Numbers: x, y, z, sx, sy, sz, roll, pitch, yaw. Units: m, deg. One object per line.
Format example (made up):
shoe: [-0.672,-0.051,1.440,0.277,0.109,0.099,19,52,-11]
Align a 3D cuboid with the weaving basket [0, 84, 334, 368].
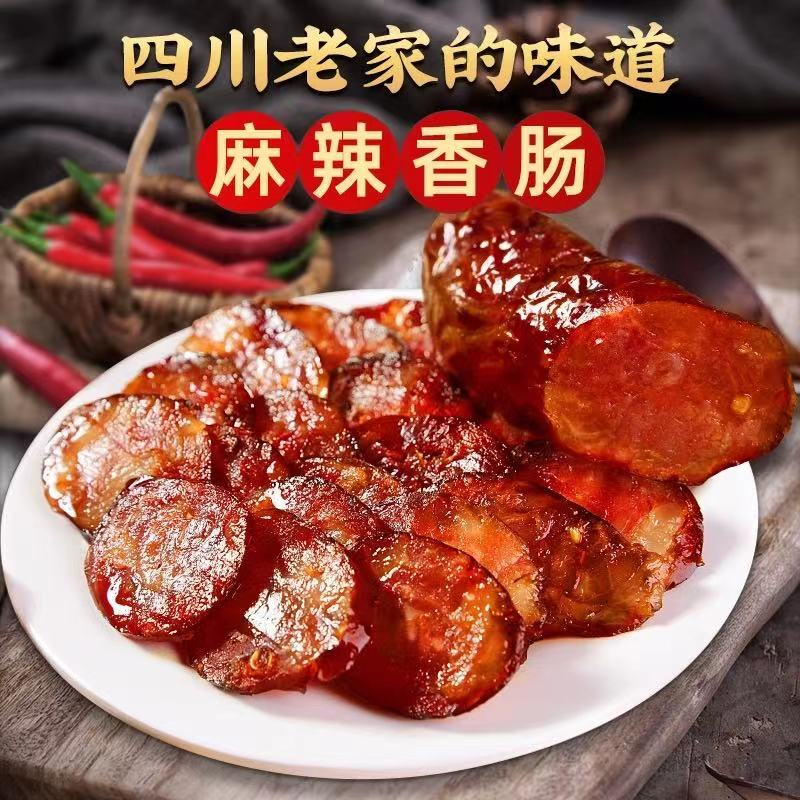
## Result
weaving basket: [-0.368,-0.322,1.628,0.491,0.375,0.390,6,30,4]

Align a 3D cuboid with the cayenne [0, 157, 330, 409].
cayenne: [-0.415,-0.232,1.602,0.459,0.182,0.429,4,24,4]
